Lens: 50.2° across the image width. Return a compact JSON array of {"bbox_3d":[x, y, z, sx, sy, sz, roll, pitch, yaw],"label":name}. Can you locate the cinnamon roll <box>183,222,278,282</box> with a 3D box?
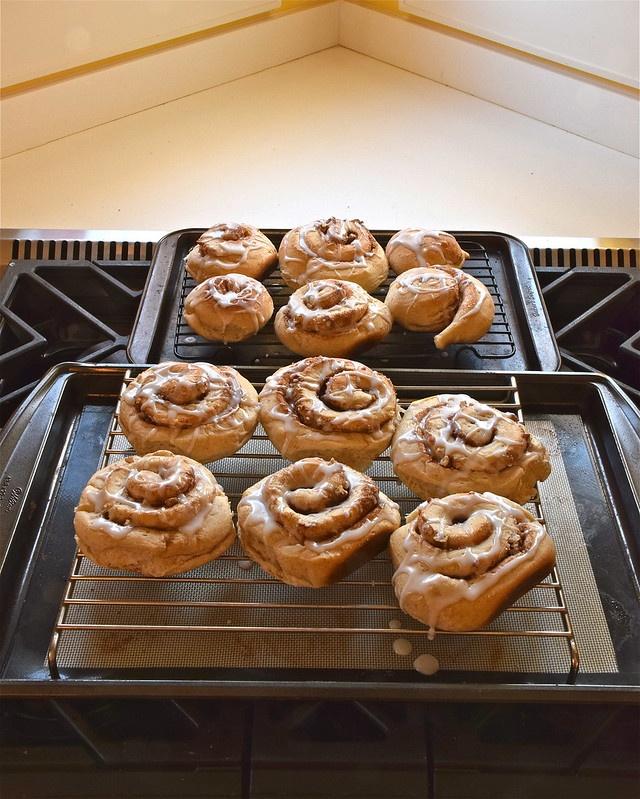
[{"bbox_3d":[-0.226,-0.367,1.738,0.203,0.085,0.250,22,38,24],"label":"cinnamon roll"}]

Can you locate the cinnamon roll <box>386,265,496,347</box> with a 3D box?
[{"bbox_3d":[0.268,-0.230,1.565,0.227,0.076,0.195,26,60,24],"label":"cinnamon roll"}]

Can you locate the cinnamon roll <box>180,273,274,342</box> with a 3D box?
[{"bbox_3d":[-0.209,-0.203,1.569,0.206,0.148,0.127,-7,23,-9],"label":"cinnamon roll"}]

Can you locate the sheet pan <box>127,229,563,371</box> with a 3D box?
[{"bbox_3d":[0.052,-0.193,1.545,0.794,0.092,0.410,1,51,-1],"label":"sheet pan"}]

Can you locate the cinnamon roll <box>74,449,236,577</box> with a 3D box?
[{"bbox_3d":[-0.270,0.196,1.092,0.239,0.077,0.200,17,40,5],"label":"cinnamon roll"}]

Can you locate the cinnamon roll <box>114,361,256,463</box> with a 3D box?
[{"bbox_3d":[-0.237,0.032,1.263,0.236,0.074,0.189,10,49,2],"label":"cinnamon roll"}]

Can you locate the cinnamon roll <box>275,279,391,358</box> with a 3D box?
[{"bbox_3d":[0.034,-0.178,1.484,0.232,0.074,0.175,5,50,7],"label":"cinnamon roll"}]

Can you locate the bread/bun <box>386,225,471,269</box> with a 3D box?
[{"bbox_3d":[0.271,-0.372,1.720,0.160,0.045,0.129,1,33,2],"label":"bread/bun"}]
